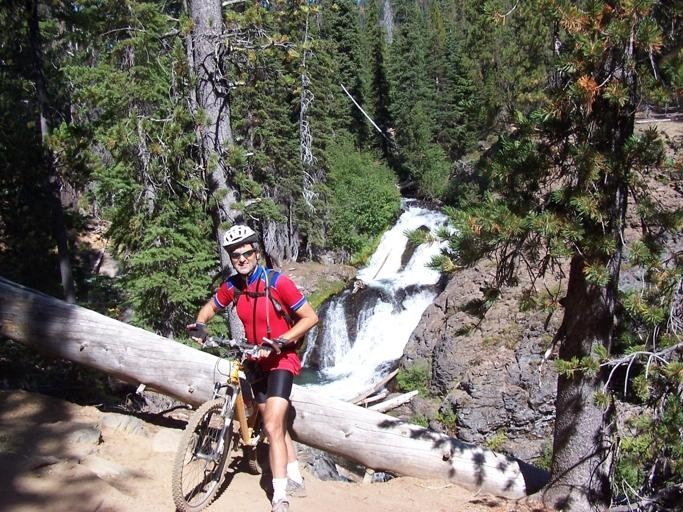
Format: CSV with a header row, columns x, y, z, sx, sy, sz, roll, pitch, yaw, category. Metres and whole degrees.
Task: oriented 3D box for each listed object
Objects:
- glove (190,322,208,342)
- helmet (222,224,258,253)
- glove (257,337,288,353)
x,y,z,sx,sy,sz,roll,pitch,yaw,category
-1.821,0.971,7.800,0.204,0.215,0.343,1,8,-27,glove
-1.272,-0.205,7.769,0.411,0.370,0.266,3,7,-12,helmet
-0.819,1.074,7.418,0.322,0.159,0.109,4,7,-8,glove
